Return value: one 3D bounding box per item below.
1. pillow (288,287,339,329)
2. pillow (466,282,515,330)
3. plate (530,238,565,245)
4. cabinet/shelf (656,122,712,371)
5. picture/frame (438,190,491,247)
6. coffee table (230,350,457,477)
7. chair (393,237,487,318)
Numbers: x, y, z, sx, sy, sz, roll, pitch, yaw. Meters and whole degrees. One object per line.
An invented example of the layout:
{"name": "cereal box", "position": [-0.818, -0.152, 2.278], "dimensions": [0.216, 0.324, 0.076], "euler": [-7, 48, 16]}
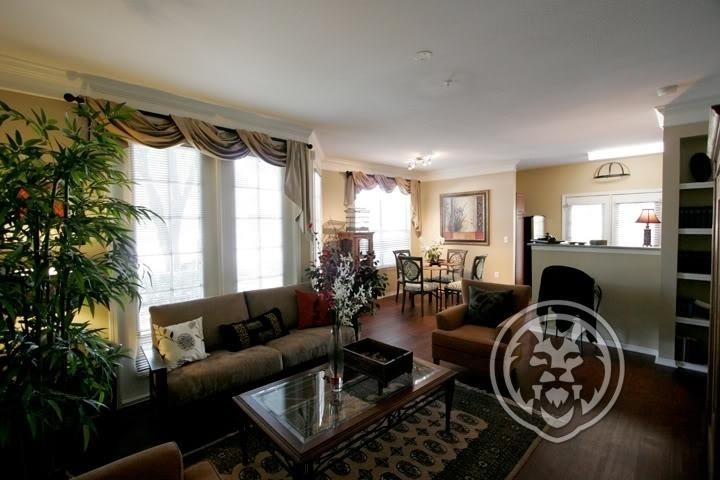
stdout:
{"name": "pillow", "position": [-0.556, 0.838, 5.583], "dimensions": [0.578, 0.560, 0.209], "euler": [-2, -25, -15]}
{"name": "pillow", "position": [1.636, 0.852, 5.877], "dimensions": [0.458, 0.449, 0.176], "euler": [-3, -25, 40]}
{"name": "plate", "position": [2.864, 0.019, 7.127], "dimensions": [0.446, 0.114, 0.421], "euler": [-5, 0, 25]}
{"name": "cabinet/shelf", "position": [4.002, 0.057, 5.918], "dimensions": [0.649, 2.890, 0.268], "euler": [-4, 0, 31]}
{"name": "picture/frame", "position": [2.186, -0.456, 9.619], "dimensions": [0.079, 1.132, 1.069], "euler": [-5, 8, -43]}
{"name": "coffee table", "position": [-0.164, 1.675, 4.586], "dimensions": [1.914, 1.007, 0.924], "euler": [-5, 0, -30]}
{"name": "chair", "position": [1.372, 0.645, 8.435], "dimensions": [1.192, 0.794, 1.213], "euler": [2, 3, 33]}
